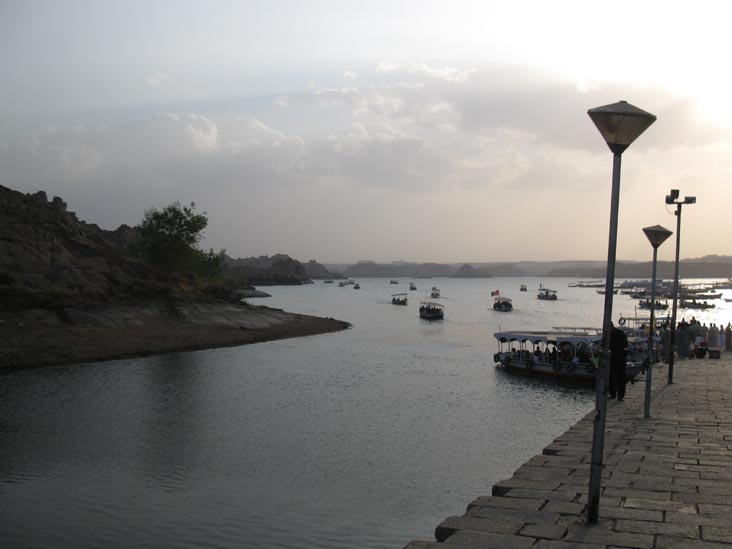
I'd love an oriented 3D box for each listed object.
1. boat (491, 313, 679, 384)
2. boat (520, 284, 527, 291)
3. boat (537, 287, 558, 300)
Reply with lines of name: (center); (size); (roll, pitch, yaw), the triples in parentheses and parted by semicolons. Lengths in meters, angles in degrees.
boat: (15.525, 5.307, 43.639); (5.712, 3.925, 10.988); (3, -3, -37)
boat: (72.181, 5.595, 270.328); (3.493, 1.881, 5.091); (-1, 0, 7)
boat: (55.135, 5.814, 178.504); (4.603, 3.043, 13.642); (2, 1, 21)
